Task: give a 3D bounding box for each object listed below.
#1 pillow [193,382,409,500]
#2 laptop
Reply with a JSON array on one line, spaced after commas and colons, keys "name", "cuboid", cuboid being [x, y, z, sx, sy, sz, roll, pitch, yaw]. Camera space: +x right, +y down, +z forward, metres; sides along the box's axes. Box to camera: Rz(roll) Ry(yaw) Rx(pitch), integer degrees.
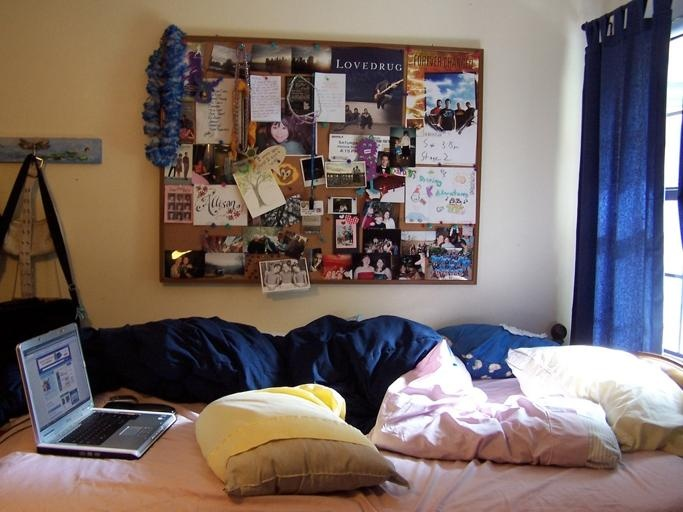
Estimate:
[{"name": "pillow", "cuboid": [-0.229, 0.707, 2.247, 0.690, 0.294, 0.842, 5, 0, -18]}, {"name": "laptop", "cuboid": [-0.943, 0.514, 2.153, 0.453, 0.408, 0.430, 3, 3, 6]}]
